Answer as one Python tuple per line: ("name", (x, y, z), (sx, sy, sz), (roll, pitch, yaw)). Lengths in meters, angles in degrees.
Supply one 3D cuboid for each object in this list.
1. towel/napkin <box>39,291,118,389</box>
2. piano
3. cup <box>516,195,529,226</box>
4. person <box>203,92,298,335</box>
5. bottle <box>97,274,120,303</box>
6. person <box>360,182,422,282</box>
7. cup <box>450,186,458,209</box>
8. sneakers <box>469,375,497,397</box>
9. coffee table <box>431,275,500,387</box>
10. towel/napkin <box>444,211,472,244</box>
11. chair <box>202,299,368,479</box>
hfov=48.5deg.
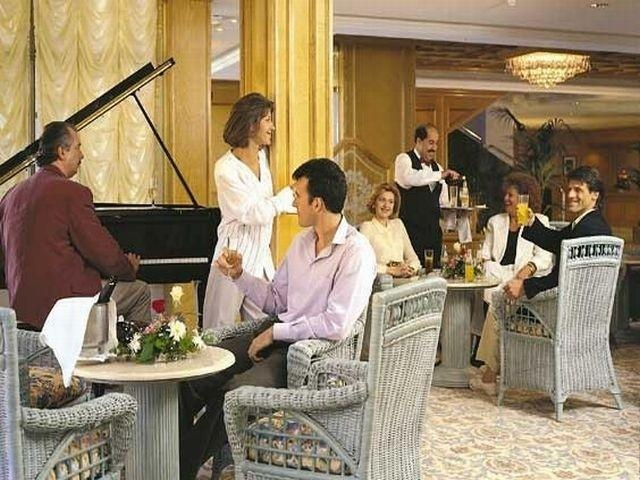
("towel/napkin", (-1.137, 0.432, 3.393), (0.285, 0.461, 0.427), (8, 12, 30))
("piano", (-1.646, -0.450, 6.300), (1.822, 2.303, 1.447), (5, -5, -20))
("cup", (1.628, -0.247, 5.688), (0.090, 0.228, 0.197), (2, 7, 15))
("person", (-0.464, 0.018, 5.030), (0.711, 2.009, 0.645), (-5, 18, -22))
("bottle", (-1.059, 0.217, 3.505), (0.039, 0.184, 0.096), (27, 8, 29))
("person", (0.617, -0.039, 6.490), (0.547, 1.023, 0.544), (1, -3, -42))
("cup", (1.348, -0.445, 7.177), (0.069, 0.183, 0.372), (2, 7, 12))
("sneakers", (1.330, 1.194, 5.822), (0.087, 0.114, 0.240), (-4, 12, -28))
("coffee table", (1.190, 0.775, 6.225), (0.659, 0.956, 0.745), (4, 3, 40))
("towel/napkin", (1.434, -0.167, 7.441), (0.353, 0.402, 0.335), (-2, 5, -38))
("chair", (-0.216, 0.850, 4.139), (0.879, 1.217, 1.055), (3, -5, 13))
